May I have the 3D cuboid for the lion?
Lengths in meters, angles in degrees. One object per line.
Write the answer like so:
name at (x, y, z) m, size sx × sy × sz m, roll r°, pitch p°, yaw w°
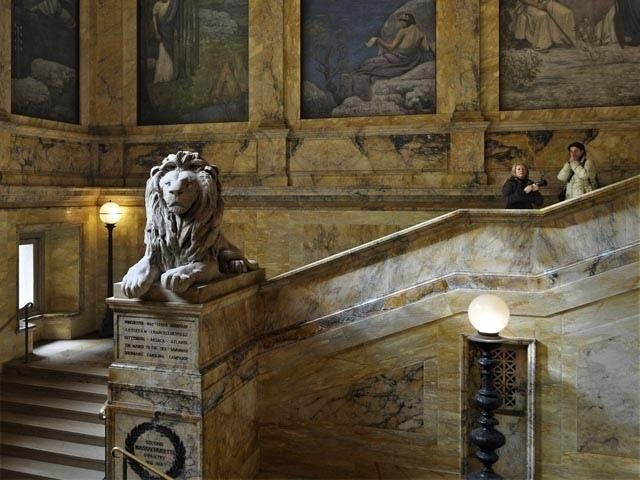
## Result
lion at (-1.671, -0.288, 12.403) m, size 1.664 × 1.657 × 3.072 m, roll -2°, pitch 4°, yaw 6°

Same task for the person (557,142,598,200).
person at (3.681, -0.792, 13.571) m, size 0.508 × 1.089 × 0.428 m, roll 3°, pitch 7°, yaw 42°

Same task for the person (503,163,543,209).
person at (2.825, -0.546, 13.243) m, size 0.614 × 0.990 × 0.550 m, roll -3°, pitch 2°, yaw 8°
